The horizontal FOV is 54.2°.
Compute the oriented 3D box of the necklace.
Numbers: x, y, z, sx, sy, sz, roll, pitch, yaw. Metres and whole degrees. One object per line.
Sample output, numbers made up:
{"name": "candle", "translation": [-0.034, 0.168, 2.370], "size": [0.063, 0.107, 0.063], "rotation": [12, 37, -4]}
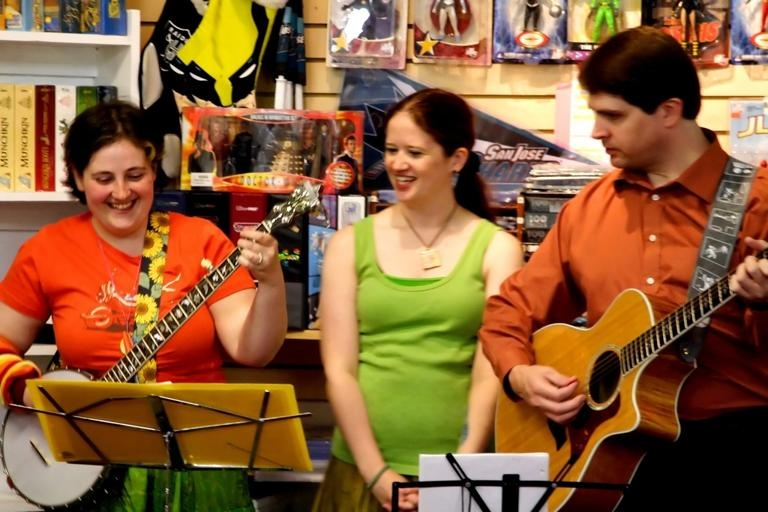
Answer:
{"name": "necklace", "translation": [0.153, -0.060, 2.670], "size": [0.296, 0.338, 0.037], "rotation": [-2, -43, 0]}

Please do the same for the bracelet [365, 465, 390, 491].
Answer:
{"name": "bracelet", "translation": [-0.021, 0.728, 2.456], "size": [0.018, 0.074, 0.074], "rotation": [45, -18, 0]}

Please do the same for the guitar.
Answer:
{"name": "guitar", "translation": [0.669, 0.429, 2.243], "size": [0.145, 0.455, 0.942], "rotation": [21, -42, -26]}

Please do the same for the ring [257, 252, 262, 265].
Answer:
{"name": "ring", "translation": [-0.383, 0.013, 2.337], "size": [0.009, 0.025, 0.026], "rotation": [6, -2, -14]}
